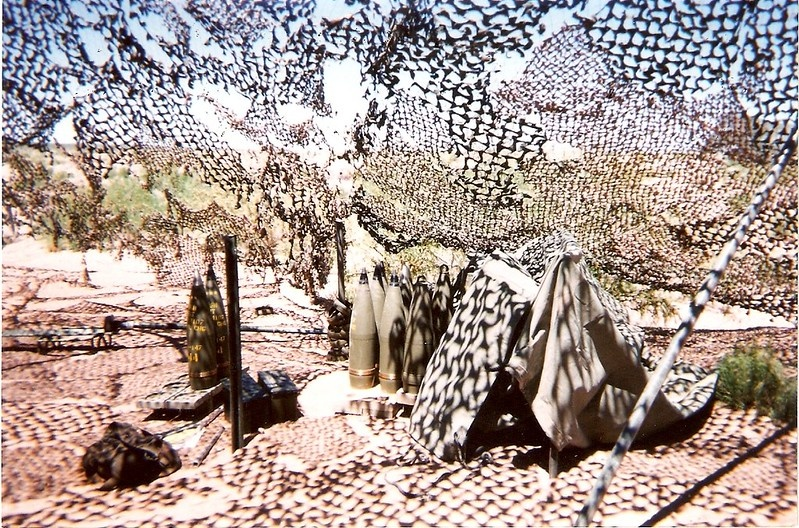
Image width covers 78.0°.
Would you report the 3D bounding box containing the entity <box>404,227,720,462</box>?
[{"bbox_3d":[1.349,0.671,4.117,1.778,0.922,2.368,22,43,40],"label":"entity"}]
